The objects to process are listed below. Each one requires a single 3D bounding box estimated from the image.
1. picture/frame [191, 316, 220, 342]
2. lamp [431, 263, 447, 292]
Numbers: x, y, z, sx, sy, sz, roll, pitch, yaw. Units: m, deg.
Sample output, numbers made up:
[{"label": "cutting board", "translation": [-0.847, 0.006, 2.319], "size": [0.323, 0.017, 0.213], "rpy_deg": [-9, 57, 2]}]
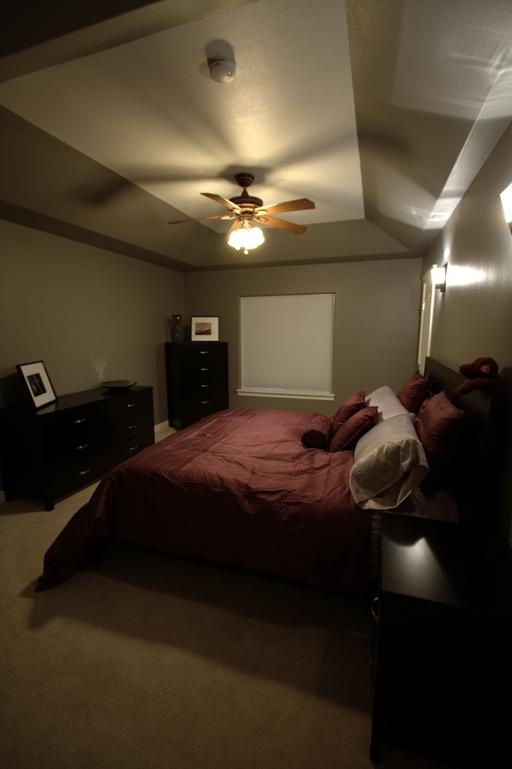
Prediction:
[{"label": "picture/frame", "translation": [-0.563, -0.606, 5.637], "size": [0.254, 0.251, 0.026], "rpy_deg": [0, 2, -17]}, {"label": "lamp", "translation": [1.198, -0.696, 3.379], "size": [0.086, 0.197, 0.344], "rpy_deg": [5, 16, 18]}]
